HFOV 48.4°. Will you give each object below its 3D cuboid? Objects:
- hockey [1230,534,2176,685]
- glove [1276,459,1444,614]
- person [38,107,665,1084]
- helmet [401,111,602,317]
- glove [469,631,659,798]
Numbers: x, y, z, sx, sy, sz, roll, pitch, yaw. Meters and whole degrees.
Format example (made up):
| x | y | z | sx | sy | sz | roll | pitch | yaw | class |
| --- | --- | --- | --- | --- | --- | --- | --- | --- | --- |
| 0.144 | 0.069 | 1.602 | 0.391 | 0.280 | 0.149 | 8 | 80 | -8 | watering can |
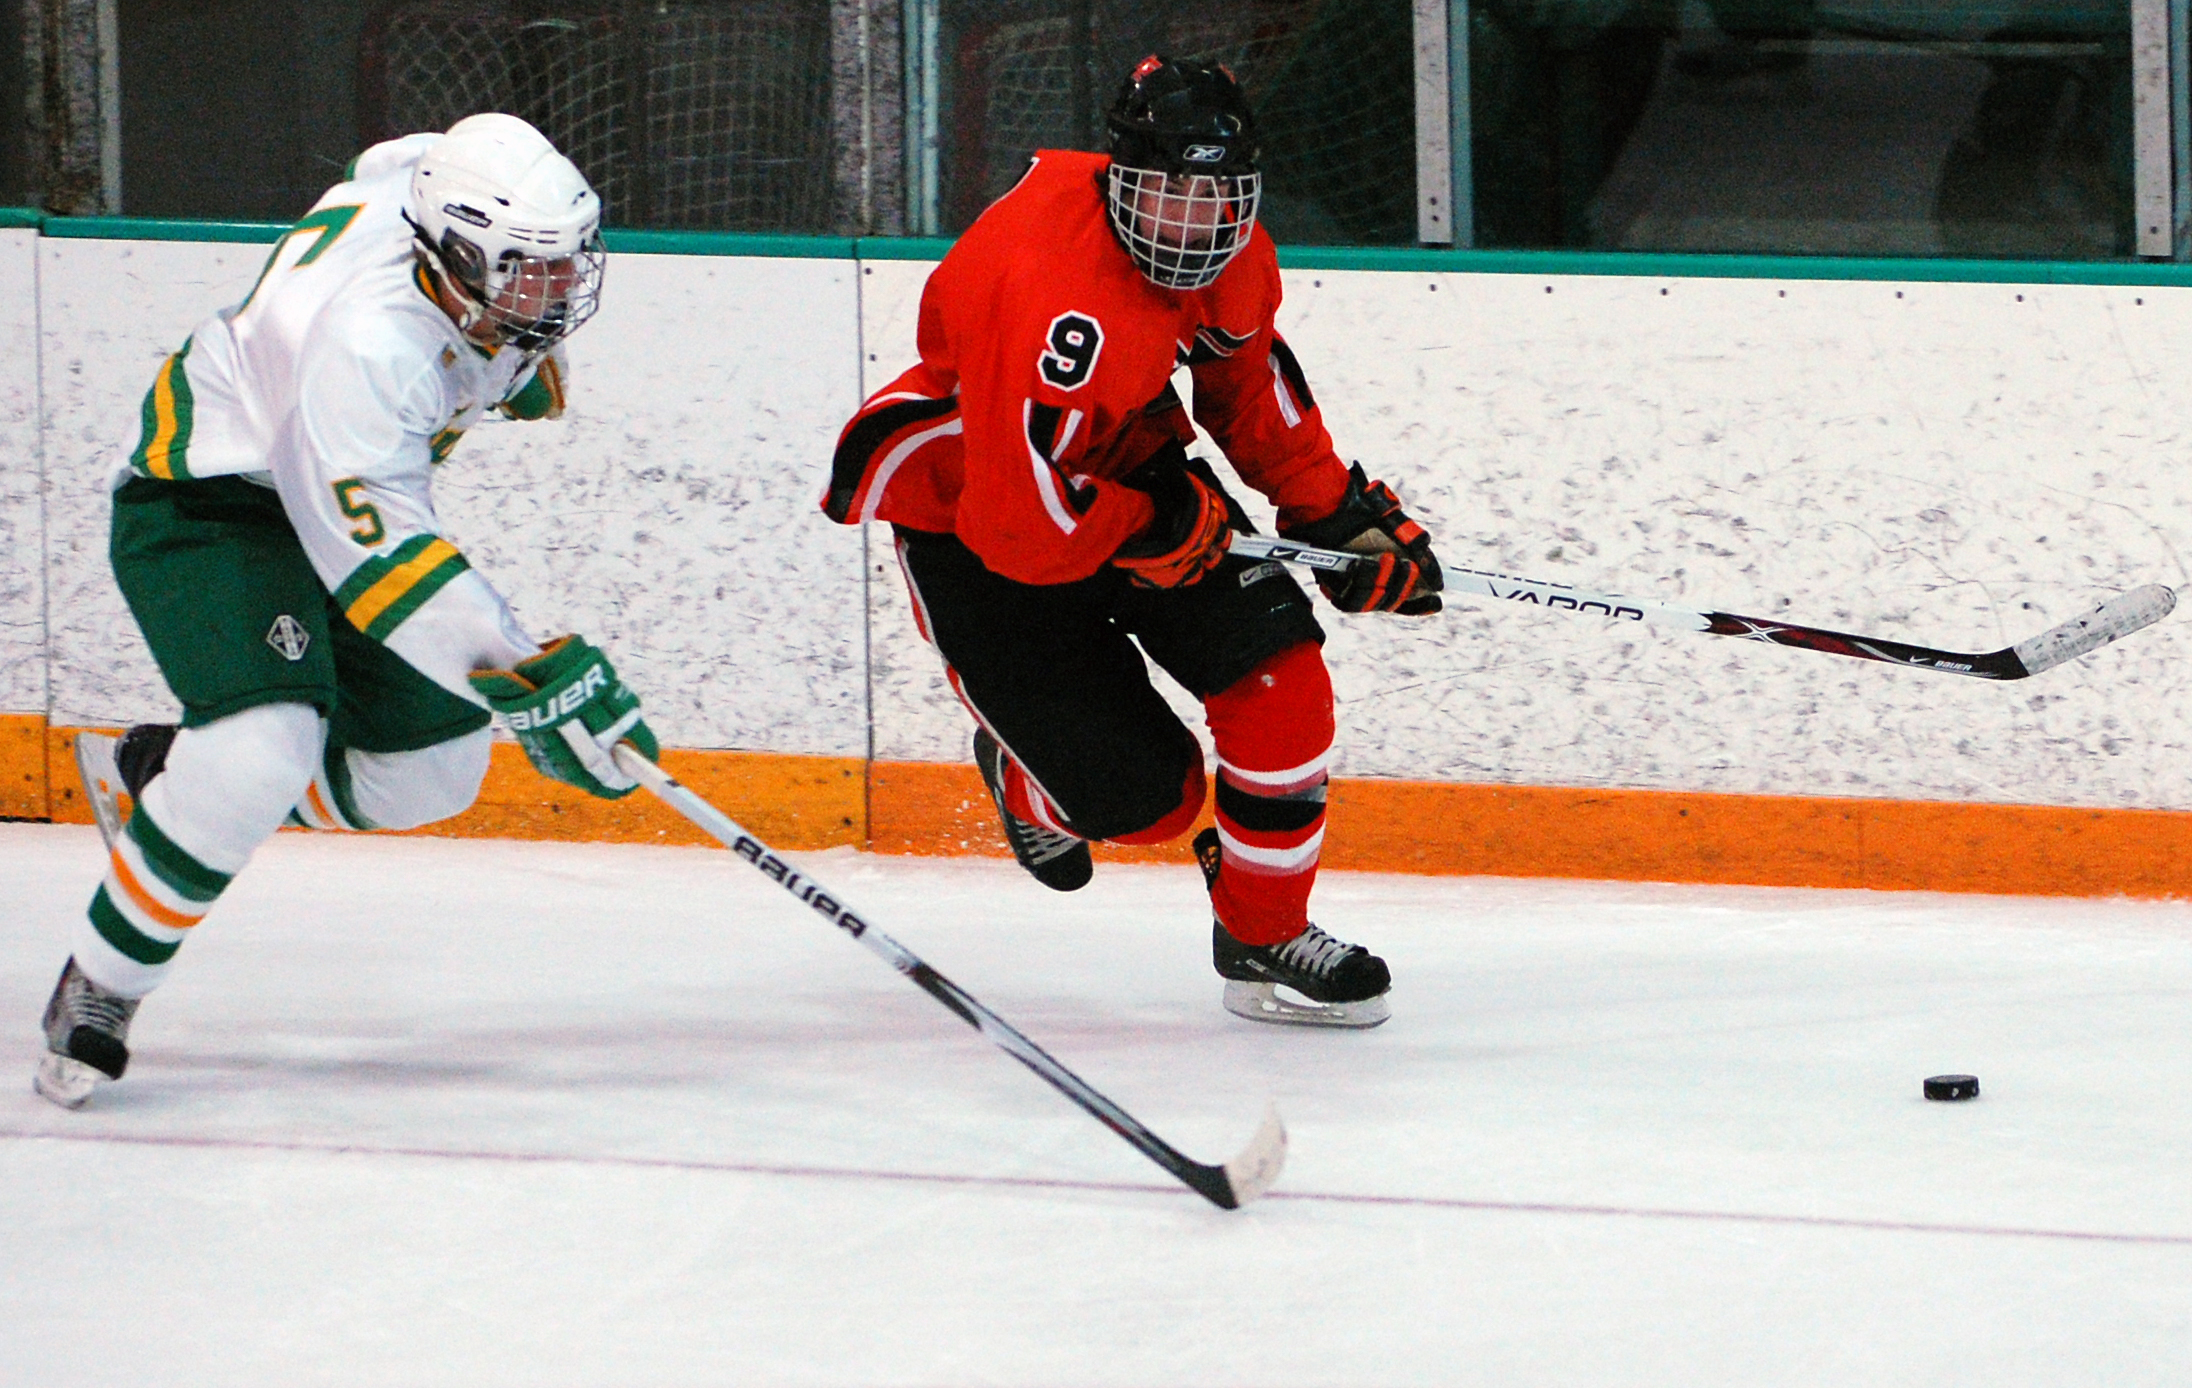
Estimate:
| x | y | z | sx | sy | sz | roll | pitch | yaw | class |
| --- | --- | --- | --- | --- | --- | --- | --- | --- | --- |
| 1.279 | -0.174 | 4.855 | 1.300 | 0.128 | 0.081 | 9 | 37 | 6 | hockey |
| 0.478 | -0.259 | 4.337 | 0.287 | 0.271 | 0.132 | -43 | 11 | -31 | glove |
| -1.308 | -0.169 | 4.124 | 0.992 | 1.558 | 0.859 | -3 | 23 | -10 | person |
| -0.992 | -0.762 | 4.019 | 0.302 | 0.341 | 0.186 | 14 | 26 | 28 | helmet |
| -0.831 | 0.035 | 4.018 | 0.199 | 0.338 | 0.129 | -46 | 18 | 6 | glove |
